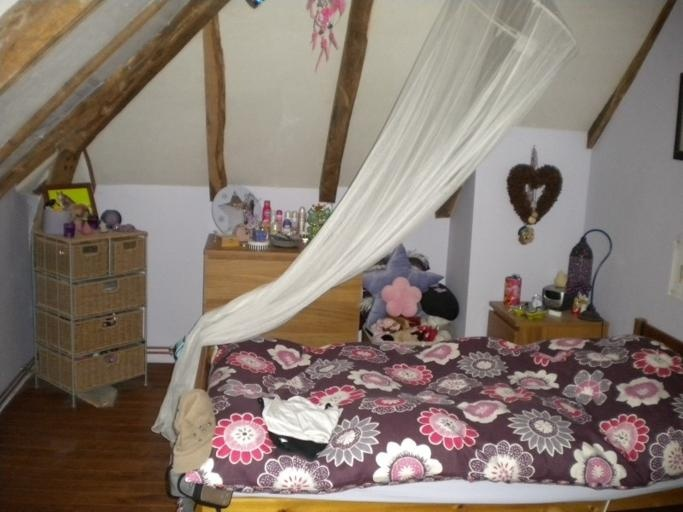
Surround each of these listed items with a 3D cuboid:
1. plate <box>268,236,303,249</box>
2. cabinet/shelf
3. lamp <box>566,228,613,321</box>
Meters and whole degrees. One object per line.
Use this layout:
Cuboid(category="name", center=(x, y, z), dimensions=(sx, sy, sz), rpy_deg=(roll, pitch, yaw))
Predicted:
Cuboid(category="plate", center=(-0.434, -0.107, 4.152), dimensions=(0.160, 0.055, 0.117), rpy_deg=(7, 8, -14))
Cuboid(category="cabinet/shelf", center=(-1.927, 0.399, 4.399), dimensions=(0.769, 1.477, 0.836), rpy_deg=(9, 10, 39))
Cuboid(category="lamp", center=(1.913, 0.140, 4.193), dimensions=(0.245, 0.829, 0.285), rpy_deg=(-9, 17, -43))
